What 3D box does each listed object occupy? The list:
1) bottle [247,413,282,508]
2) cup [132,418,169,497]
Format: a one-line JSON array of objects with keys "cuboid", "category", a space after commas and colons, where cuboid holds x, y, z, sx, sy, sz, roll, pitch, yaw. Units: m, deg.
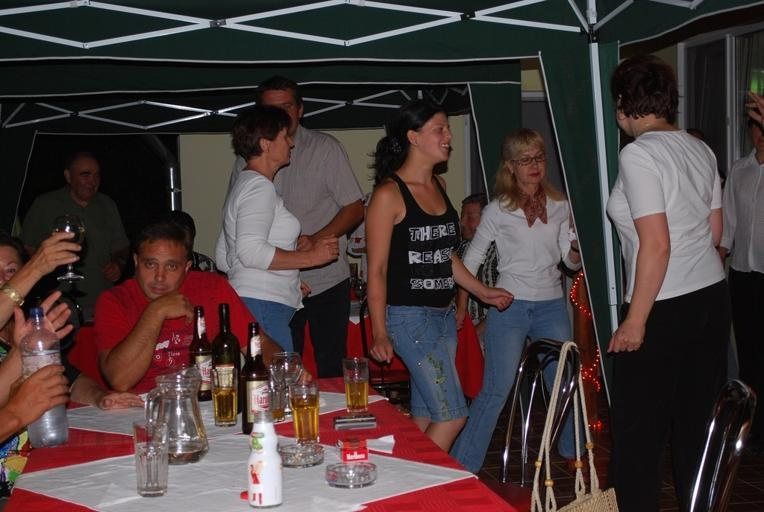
[{"cuboid": [-0.324, 0.554, 1.651, 0.096, 0.257, 0.080, -3, 10, -12], "category": "bottle"}, {"cuboid": [-0.682, 0.582, 1.781, 0.094, 0.179, 0.209, -4, 9, -20], "category": "cup"}]
